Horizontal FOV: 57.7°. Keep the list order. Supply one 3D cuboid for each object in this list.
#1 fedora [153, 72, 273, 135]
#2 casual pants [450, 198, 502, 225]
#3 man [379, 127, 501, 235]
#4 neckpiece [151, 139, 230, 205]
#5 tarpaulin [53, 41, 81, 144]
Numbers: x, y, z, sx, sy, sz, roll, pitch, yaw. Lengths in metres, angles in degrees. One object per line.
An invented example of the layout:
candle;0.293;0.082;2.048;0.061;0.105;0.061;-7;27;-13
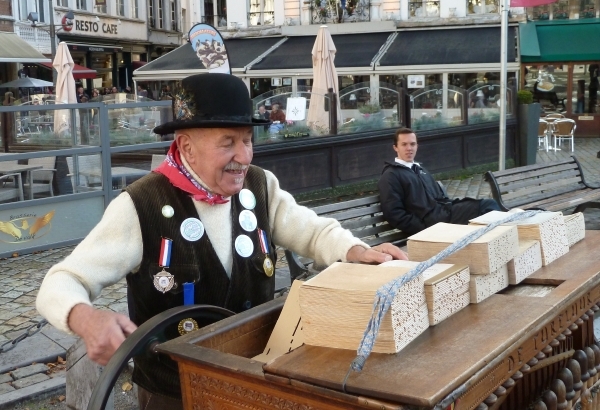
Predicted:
fedora;-0.450;-0.498;2.697;0.355;0.185;0.308;0;4;11
casual pants;1.817;0.061;5.710;0.332;0.155;0.260;-5;8;-22
man;1.910;-0.271;6.879;1.770;1.345;0.907;4;9;21
neckpiece;-0.548;-0.135;2.856;0.340;0.299;0.183;13;2;7
tarpaulin;-5.536;-2.785;12.817;0.420;2.004;0.494;-3;13;-20
